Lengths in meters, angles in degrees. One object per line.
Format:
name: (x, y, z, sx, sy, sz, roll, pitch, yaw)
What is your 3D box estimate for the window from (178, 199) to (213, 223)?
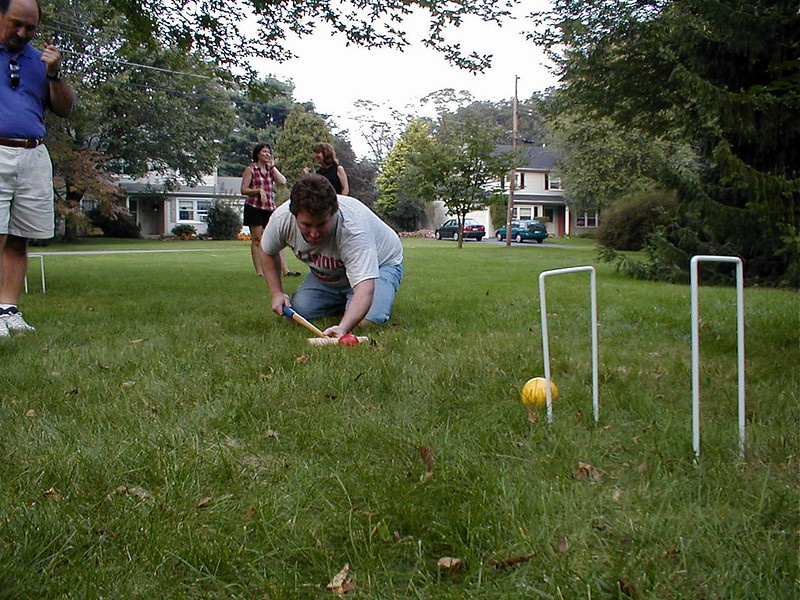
window: (-11.259, -4.850, 39.900, 1.871, 1.276, 0.245, -4, -1, -43)

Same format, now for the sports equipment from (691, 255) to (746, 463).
sports equipment: (1.666, 0.308, 3.822, 0.265, 1.143, 0.041, 2, -21, 16)

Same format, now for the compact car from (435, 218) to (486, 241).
compact car: (3.178, -3.529, 37.203, 1.213, 0.937, 2.745, -1, 7, -16)

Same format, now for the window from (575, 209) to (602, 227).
window: (11.571, -4.968, 45.146, 1.242, 0.995, 1.650, 3, 5, 11)

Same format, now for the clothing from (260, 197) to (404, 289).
clothing: (-0.690, -0.524, 6.825, 1.224, 0.808, 1.699, 12, 7, 1)

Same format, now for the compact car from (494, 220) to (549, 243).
compact car: (5.679, -3.191, 34.391, 1.202, 0.987, 2.708, -3, 12, -23)

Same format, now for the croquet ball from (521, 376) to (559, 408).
croquet ball: (0.862, 0.568, 4.517, 0.180, 0.188, 0.188, 0, 3, 0)

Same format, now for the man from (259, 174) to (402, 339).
man: (-0.724, -0.448, 6.621, 0.967, 1.424, 1.732, 7, 31, 16)
